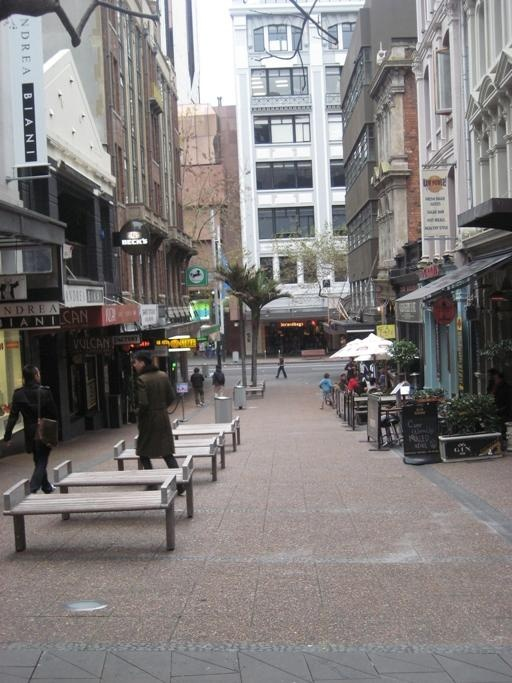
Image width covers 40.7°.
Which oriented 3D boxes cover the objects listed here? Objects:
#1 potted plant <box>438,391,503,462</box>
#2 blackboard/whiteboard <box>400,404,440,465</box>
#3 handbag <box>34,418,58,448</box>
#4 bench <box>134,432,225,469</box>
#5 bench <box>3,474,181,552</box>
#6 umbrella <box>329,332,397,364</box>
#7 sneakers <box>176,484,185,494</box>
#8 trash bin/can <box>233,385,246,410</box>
[{"bbox_3d":[3.647,1.546,12.006,0.914,1.330,1.198,-2,-4,-7],"label":"potted plant"},{"bbox_3d":[2.731,1.518,11.414,0.620,0.987,0.614,-1,-2,7],"label":"blackboard/whiteboard"},{"bbox_3d":[-2.498,1.092,8.164,0.276,0.326,0.115,5,4,-17],"label":"handbag"},{"bbox_3d":[-1.067,1.532,9.564,0.834,0.446,0.595,-1,3,6],"label":"bench"},{"bbox_3d":[-1.497,1.569,6.473,1.481,0.579,1.507,-1,-3,-6],"label":"bench"},{"bbox_3d":[3.812,0.293,23.413,1.357,0.699,1.355,-3,-2,-43],"label":"umbrella"},{"bbox_3d":[-0.904,1.781,8.240,0.095,0.142,0.141,-2,12,-1],"label":"sneakers"},{"bbox_3d":[-0.659,2.277,27.440,0.419,0.901,0.587,-1,-2,-7],"label":"trash bin/can"}]
